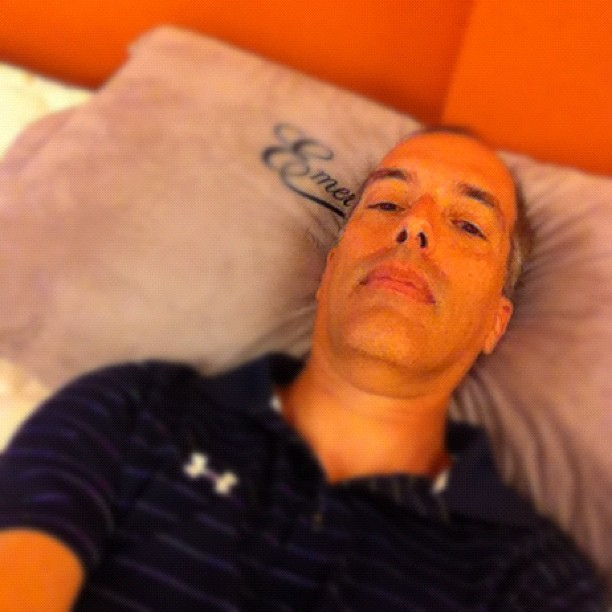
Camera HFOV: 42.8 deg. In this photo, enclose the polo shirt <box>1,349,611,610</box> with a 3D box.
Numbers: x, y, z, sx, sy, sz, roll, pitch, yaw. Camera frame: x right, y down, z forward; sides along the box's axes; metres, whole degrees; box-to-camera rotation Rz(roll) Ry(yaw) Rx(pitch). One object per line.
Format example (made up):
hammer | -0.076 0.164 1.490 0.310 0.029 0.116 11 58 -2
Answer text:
polo shirt | -0.026 0.390 1.778 1.293 0.235 0.604 -1 46 -3
